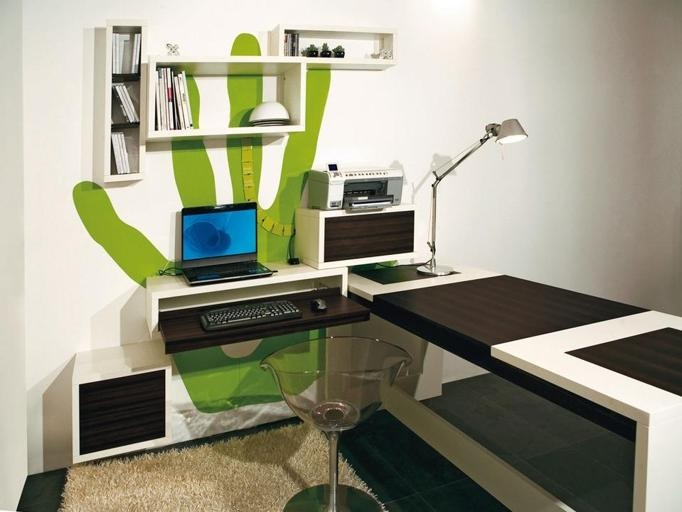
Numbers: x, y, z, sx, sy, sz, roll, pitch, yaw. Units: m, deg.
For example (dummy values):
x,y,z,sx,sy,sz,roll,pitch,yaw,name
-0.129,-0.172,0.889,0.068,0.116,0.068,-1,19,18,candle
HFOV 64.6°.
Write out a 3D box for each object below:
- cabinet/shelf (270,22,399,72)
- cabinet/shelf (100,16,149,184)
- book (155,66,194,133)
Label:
x,y,z,sx,sy,sz,roll,pitch,yaw,name
-0.035,-1.210,3.136,0.772,0.234,0.264,-10,15,-27,cabinet/shelf
-1.096,-0.778,2.742,0.279,0.763,0.128,-7,13,-19,cabinet/shelf
-0.875,-0.810,2.773,0.180,0.312,0.073,-8,14,-21,book
